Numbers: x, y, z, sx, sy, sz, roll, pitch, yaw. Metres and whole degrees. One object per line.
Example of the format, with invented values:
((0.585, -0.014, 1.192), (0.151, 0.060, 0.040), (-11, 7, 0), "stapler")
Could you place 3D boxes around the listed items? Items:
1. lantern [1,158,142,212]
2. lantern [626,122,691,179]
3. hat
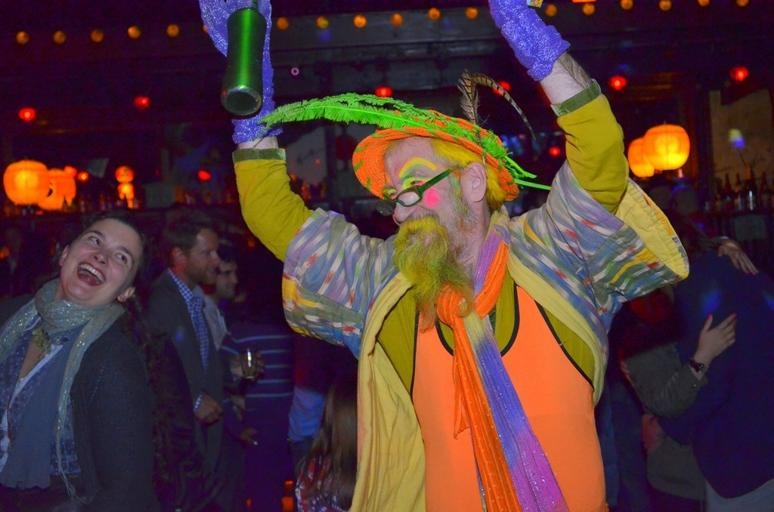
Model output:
((-3.548, -0.779, 8.917), (1.312, 0.564, 0.766), (0, -4, -23), "lantern")
((2.753, -1.023, 8.243), (0.722, 0.753, 0.609), (-2, 4, 17), "lantern")
((0.270, -0.584, 5.353), (1.010, 0.362, 1.362), (-1, -8, -10), "hat")
